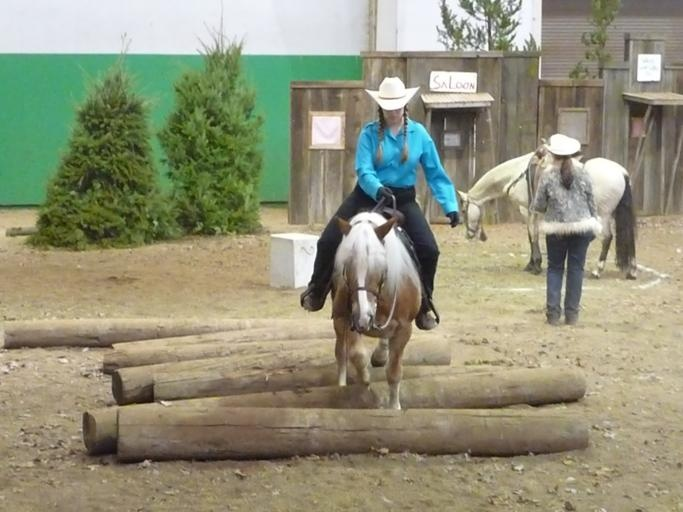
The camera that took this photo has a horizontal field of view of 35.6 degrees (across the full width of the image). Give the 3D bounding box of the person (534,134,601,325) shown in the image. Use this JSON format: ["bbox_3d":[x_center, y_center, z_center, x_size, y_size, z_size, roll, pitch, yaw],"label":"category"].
[{"bbox_3d":[3.518,-0.417,16.781,0.956,2.929,0.618,0,8,13],"label":"person"}]

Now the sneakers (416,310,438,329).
[{"bbox_3d":[1.132,0.906,14.670,0.109,0.242,0.292,22,-5,45],"label":"sneakers"}]

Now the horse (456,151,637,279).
[{"bbox_3d":[3.814,-0.824,20.049,3.291,2.680,0.864,1,11,17],"label":"horse"}]

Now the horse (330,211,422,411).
[{"bbox_3d":[0.420,0.745,13.821,1.135,2.569,0.876,-2,8,-2],"label":"horse"}]

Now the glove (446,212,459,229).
[{"bbox_3d":[1.515,-0.510,14.550,0.147,0.229,0.067,-14,-12,0],"label":"glove"}]
